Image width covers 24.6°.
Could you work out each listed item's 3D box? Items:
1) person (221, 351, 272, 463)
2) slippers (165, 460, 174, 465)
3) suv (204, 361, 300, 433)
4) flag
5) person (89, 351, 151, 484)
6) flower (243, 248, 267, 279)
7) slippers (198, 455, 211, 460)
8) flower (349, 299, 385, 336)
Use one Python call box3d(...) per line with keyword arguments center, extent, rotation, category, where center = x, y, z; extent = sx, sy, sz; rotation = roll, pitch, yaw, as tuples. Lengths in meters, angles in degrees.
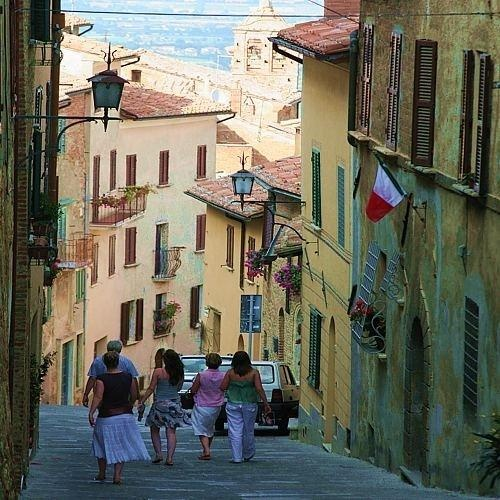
box3d(center=(-0.051, 2.046, 14.796), extent=(0.573, 1.485, 1.312), rotation=(-3, -3, 0), category="person")
box3d(center=(-1.008, 2.657, 14.294), extent=(0.069, 0.075, 0.212), rotation=(0, -8, -10), category="slippers")
box3d(center=(0.463, 3.266, 24.688), extent=(1.136, 1.437, 2.731), rotation=(1, 1, 5), category="suv")
box3d(center=(1.879, -0.781, 15.711), extent=(0.083, 0.654, 0.682), rotation=(2, -47, -31), category="flag")
box3d(center=(-1.445, 1.828, 12.481), extent=(0.601, 1.445, 0.793), rotation=(-2, -2, -10), category="person")
box3d(center=(0.147, 0.286, 34.066), extent=(0.598, 1.058, 0.773), rotation=(5, -13, -1), category="flower")
box3d(center=(-0.603, 2.748, 15.238), extent=(0.153, 0.084, 0.058), rotation=(4, 1, 34), category="slippers")
box3d(center=(1.730, 1.020, 16.928), extent=(0.390, 0.548, 0.567), rotation=(2, -5, -19), category="flower")
